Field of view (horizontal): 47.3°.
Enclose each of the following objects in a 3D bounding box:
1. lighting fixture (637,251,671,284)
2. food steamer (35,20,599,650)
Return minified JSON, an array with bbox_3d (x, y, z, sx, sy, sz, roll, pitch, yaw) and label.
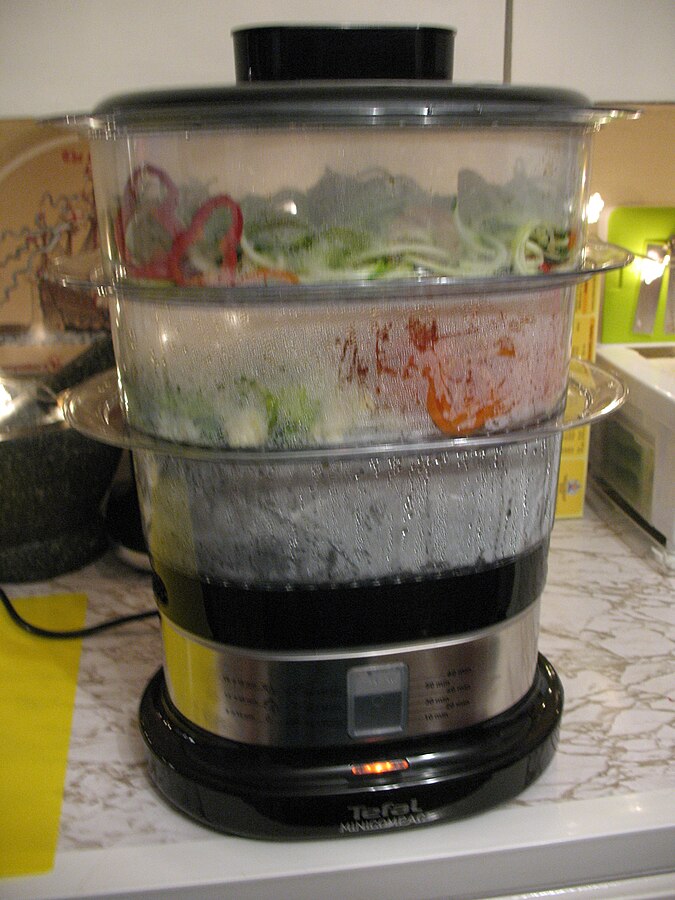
[{"bbox_3d":[0.451,-0.258,1.101,0.037,0.045,0.017,22,58,-26],"label":"lighting fixture"},{"bbox_3d":[-0.003,-0.063,0.491,0.285,0.344,0.284,-5,13,-13],"label":"food steamer"}]
